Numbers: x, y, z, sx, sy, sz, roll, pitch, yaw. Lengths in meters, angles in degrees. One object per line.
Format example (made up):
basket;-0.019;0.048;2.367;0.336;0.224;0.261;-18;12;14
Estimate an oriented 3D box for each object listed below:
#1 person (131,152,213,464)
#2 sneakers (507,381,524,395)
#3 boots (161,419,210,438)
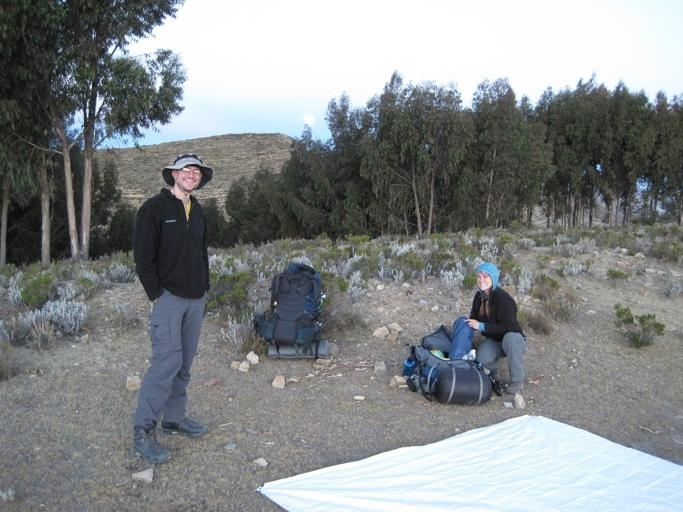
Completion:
person;-2.397;0.733;7.863;0.995;4.294;0.707;0;8;-27
sneakers;2.915;2.201;9.331;0.297;0.254;0.131;-7;16;-26
boots;-2.310;2.568;8.299;0.656;0.388;0.282;2;8;-10
